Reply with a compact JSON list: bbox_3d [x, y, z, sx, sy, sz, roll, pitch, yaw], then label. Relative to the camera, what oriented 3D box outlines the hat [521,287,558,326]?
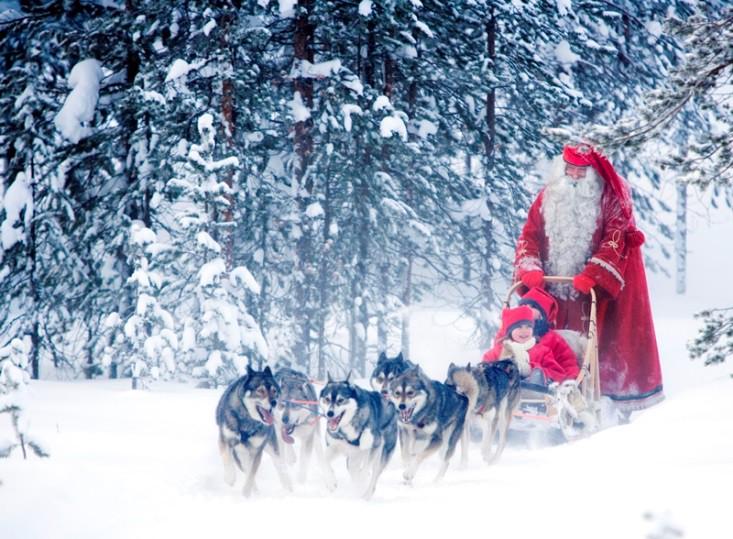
[{"bbox_3d":[3.094,0.597,21.146,0.657,0.389,0.490,42,3,-4],"label":"hat"}]
